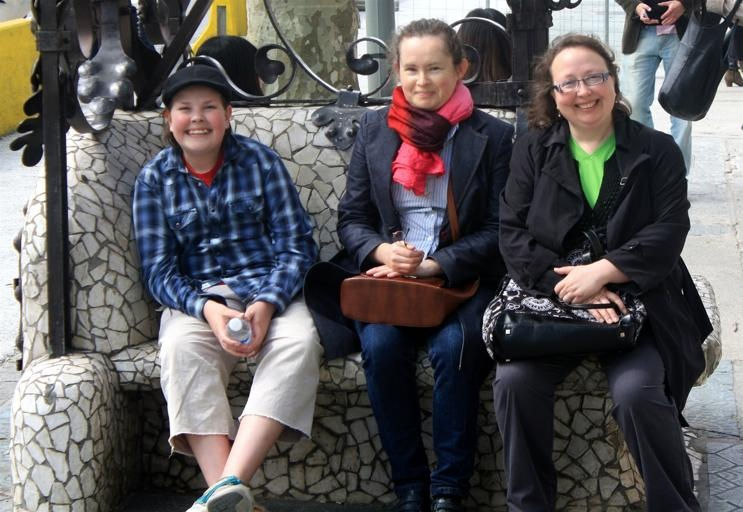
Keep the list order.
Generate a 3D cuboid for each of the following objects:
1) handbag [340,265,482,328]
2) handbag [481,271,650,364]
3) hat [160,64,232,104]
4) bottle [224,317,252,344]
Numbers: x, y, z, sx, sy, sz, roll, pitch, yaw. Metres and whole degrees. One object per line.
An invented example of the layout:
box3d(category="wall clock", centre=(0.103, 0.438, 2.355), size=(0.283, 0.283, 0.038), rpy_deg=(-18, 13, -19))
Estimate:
box3d(category="handbag", centre=(0.043, 0.192, 3.629), size=(0.516, 0.206, 0.550), rpy_deg=(8, -2, -16))
box3d(category="handbag", centre=(0.812, 0.315, 3.408), size=(0.654, 0.208, 0.707), rpy_deg=(0, -1, 44))
box3d(category="hat", centre=(-0.840, -0.817, 3.696), size=(0.333, 0.139, 0.364), rpy_deg=(-10, -2, -3))
box3d(category="bottle", centre=(-0.586, 0.322, 3.370), size=(0.061, 0.065, 0.108), rpy_deg=(29, 4, 0))
